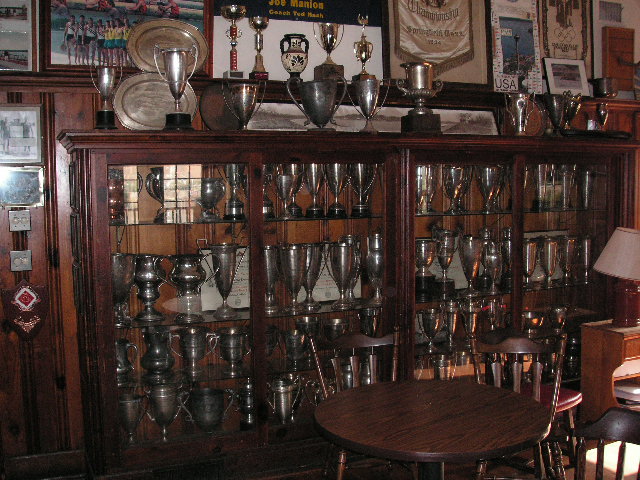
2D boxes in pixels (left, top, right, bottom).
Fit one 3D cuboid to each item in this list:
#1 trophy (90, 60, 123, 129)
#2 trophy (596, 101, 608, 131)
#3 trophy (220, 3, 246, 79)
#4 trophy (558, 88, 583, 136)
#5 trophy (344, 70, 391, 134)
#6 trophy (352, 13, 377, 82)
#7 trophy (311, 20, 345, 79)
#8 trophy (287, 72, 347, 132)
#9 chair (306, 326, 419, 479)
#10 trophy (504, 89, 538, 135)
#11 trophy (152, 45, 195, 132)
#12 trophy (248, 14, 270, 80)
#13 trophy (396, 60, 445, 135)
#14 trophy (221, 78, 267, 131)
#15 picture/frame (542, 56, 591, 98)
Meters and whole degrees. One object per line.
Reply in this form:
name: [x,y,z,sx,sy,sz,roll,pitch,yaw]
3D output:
trophy: [-1.145,-0.770,3.261,0.162,0.357,0.129,0,9,-25]
trophy: [1.964,-0.868,4.232,0.075,0.180,0.243,5,16,22]
trophy: [-0.511,-1.194,3.590,0.152,0.503,0.171,-1,12,-13]
trophy: [1.687,-0.861,4.087,0.136,0.218,0.132,8,15,31]
trophy: [0.290,-0.812,3.606,0.270,0.343,0.184,-3,5,-1]
trophy: [0.264,-1.173,3.701,0.122,0.370,0.122,-1,13,-2]
trophy: [0.051,-1.155,3.771,0.218,0.444,0.163,13,13,32]
trophy: [-0.001,-0.792,3.529,0.357,0.327,0.248,-6,9,-18]
chair: [0.226,0.862,3.122,0.422,0.832,0.467,0,8,-25]
trophy: [1.291,-0.811,3.919,0.214,0.282,0.165,-1,4,-9]
trophy: [-0.760,-0.815,3.248,0.189,0.428,0.168,-2,16,-11]
trophy: [-0.365,-1.177,3.686,0.110,0.390,0.290,-1,14,-2]
trophy: [0.600,-0.851,3.706,0.236,0.427,0.243,-1,3,7]
trophy: [-0.428,-0.759,3.429,0.243,0.288,0.180,-3,7,-17]
picture/frame: [1.807,-1.196,4.445,0.343,0.285,0.029,-2,-11,-17]
